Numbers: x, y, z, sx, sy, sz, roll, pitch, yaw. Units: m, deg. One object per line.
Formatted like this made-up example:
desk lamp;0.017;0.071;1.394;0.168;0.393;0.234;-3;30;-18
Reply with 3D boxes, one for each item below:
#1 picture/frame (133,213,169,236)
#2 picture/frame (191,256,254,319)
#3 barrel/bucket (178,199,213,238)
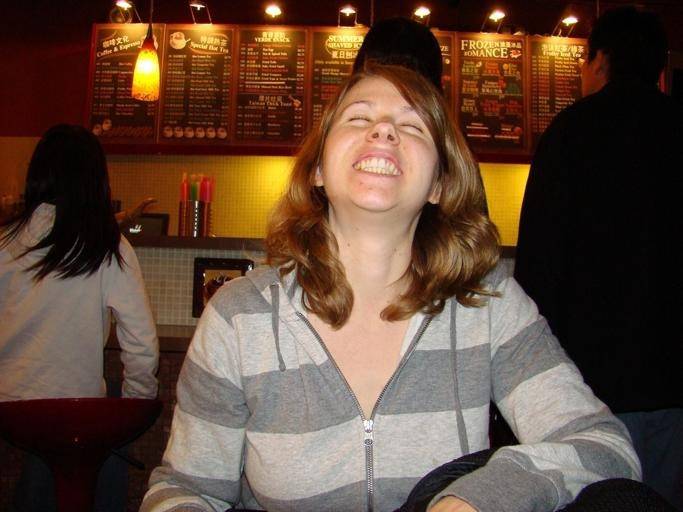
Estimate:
picture/frame;-1.368;-0.220;4.464;0.195;0.136;0.103;-1;-22;-9
picture/frame;-0.458;0.118;2.418;0.297;0.306;0.032;-1;-13;0
barrel/bucket;-0.798;-0.201;3.540;0.212;0.301;0.211;2;-3;0
